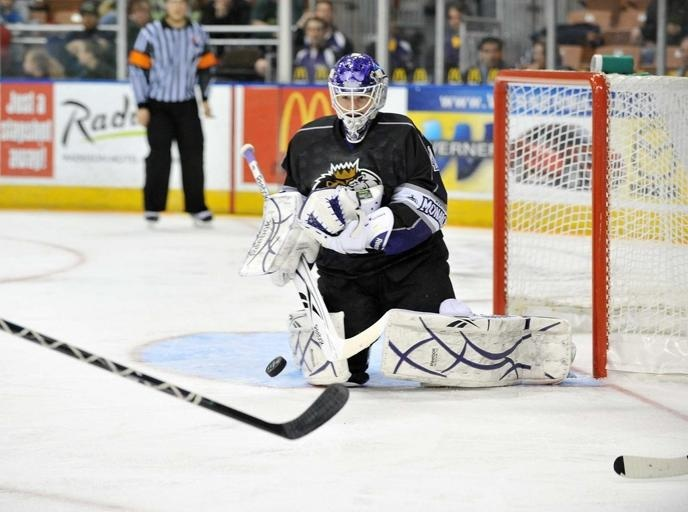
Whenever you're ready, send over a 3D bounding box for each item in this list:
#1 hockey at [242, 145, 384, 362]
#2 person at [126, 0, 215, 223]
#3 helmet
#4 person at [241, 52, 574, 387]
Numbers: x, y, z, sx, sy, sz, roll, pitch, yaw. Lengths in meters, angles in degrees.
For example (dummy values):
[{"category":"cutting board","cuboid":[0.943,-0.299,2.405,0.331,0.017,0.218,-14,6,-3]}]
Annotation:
[{"category":"hockey","cuboid":[-0.180,0.012,3.485,0.304,0.807,0.405,6,-29,-46]},{"category":"person","cuboid":[-1.157,-0.992,7.034,0.597,1.511,0.293,-4,13,-18]},{"category":"helmet","cuboid":[0.067,-0.569,3.659,0.245,0.307,0.293,0,24,8]},{"category":"person","cuboid":[0.224,-0.139,3.683,1.213,1.096,0.655,3,15,24]}]
